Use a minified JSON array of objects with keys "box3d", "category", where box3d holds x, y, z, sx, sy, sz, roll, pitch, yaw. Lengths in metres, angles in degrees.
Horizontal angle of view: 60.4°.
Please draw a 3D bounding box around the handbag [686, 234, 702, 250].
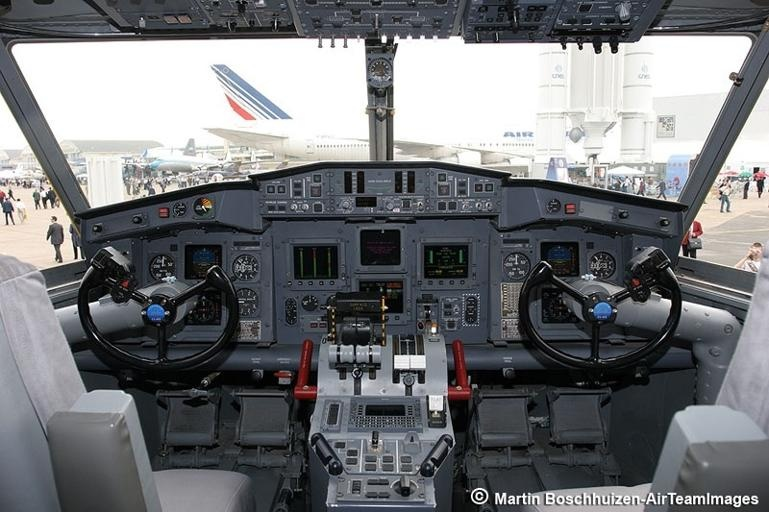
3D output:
[{"box3d":[2.336,-0.096,5.024,0.105,0.100,0.043,2,-29,-1],"category":"handbag"}]
